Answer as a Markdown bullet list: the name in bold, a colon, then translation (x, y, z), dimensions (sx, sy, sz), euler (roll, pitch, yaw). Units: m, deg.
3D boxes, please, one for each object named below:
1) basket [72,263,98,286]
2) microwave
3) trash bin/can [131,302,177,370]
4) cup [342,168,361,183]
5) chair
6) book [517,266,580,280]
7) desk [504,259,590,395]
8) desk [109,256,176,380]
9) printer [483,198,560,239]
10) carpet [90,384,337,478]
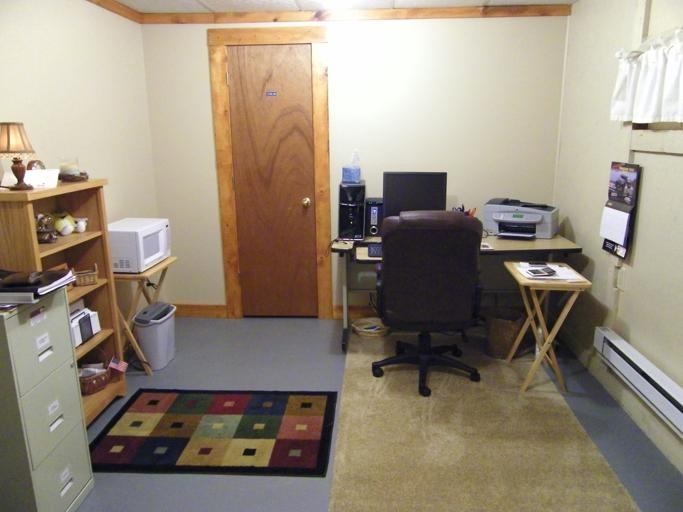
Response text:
- **basket**: translation (-1.678, 0.118, 3.531), dimensions (0.166, 0.166, 0.119), euler (0, 11, -21)
- **microwave**: translation (-1.482, -0.177, 3.957), dimensions (0.358, 0.351, 0.527), euler (3, 17, 1)
- **trash bin/can**: translation (-1.450, 0.627, 4.111), dimensions (0.297, 0.484, 0.428), euler (1, 13, 6)
- **cup**: translation (0.094, -0.696, 4.580), dimensions (0.142, 0.140, 0.143), euler (1, 21, 0)
- **chair**: translation (0.618, 0.286, 3.896), dimensions (0.825, 1.290, 0.829), euler (-1, 13, -1)
- **book**: translation (1.450, 0.113, 3.756), dimensions (0.381, 0.020, 0.277), euler (-1, 18, 2)
- **desk**: translation (1.481, 0.526, 3.975), dimensions (0.481, 0.807, 0.796), euler (4, 9, 9)
- **desk**: translation (-1.523, 0.490, 4.040), dimensions (0.440, 0.669, 0.702), euler (1, 22, -5)
- **printer**: translation (1.440, -0.410, 4.270), dimensions (0.451, 0.291, 0.336), euler (8, 19, 29)
- **carpet**: translation (-0.809, 1.126, 3.481), dimensions (1.512, 0.110, 0.746), euler (0, 18, 3)
